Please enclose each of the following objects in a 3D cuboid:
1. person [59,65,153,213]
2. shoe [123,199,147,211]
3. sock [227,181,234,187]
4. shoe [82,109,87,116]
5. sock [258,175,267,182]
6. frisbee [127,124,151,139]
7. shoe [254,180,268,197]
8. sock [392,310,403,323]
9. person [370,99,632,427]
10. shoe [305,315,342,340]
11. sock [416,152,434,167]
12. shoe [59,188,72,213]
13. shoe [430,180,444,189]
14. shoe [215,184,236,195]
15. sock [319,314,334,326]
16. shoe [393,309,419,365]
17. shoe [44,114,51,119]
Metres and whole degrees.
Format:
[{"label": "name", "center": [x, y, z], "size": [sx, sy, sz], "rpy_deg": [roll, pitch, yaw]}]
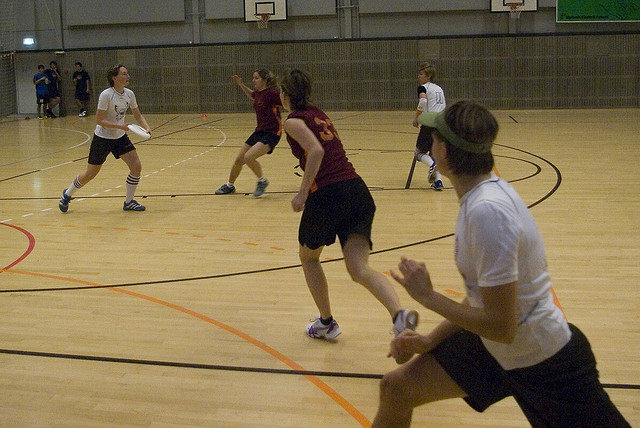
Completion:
[{"label": "person", "center": [-2.959, -1.041, 7.550], "size": [1.057, 2.014, 1.167], "rpy_deg": [7, 16, 36]}, {"label": "shoe", "center": [-2.642, -0.134, 7.734], "size": [0.362, 0.166, 0.127], "rpy_deg": [2, -1, -3]}, {"label": "sock", "center": [-1.423, -0.466, 8.526], "size": [0.091, 0.080, 0.113], "rpy_deg": [0, 5, -4]}, {"label": "shoe", "center": [-9.906, -4.224, 22.659], "size": [0.135, 0.245, 0.465], "rpy_deg": [-6, 13, -15]}, {"label": "sock", "center": [-0.901, -0.555, 8.399], "size": [0.097, 0.088, 0.075], "rpy_deg": [-48, 15, -13]}, {"label": "frisbee", "center": [-2.499, -1.134, 7.413], "size": [0.256, 0.176, 0.391], "rpy_deg": [1, 13, 13]}, {"label": "shoe", "center": [-0.940, -0.395, 8.376], "size": [0.116, 0.146, 0.347], "rpy_deg": [4, 52, 27]}, {"label": "sock", "center": [0.493, 0.654, 3.434], "size": [0.040, 0.054, 0.055], "rpy_deg": [15, 52, 5]}, {"label": "person", "center": [0.776, 0.267, 2.376], "size": [1.032, 1.483, 0.436], "rpy_deg": [4, 14, 26]}, {"label": "shoe", "center": [0.024, 0.864, 4.141], "size": [0.309, 0.157, 0.119], "rpy_deg": [3, 12, 20]}, {"label": "sock", "center": [1.614, -0.844, 8.335], "size": [0.258, 0.234, 0.347], "rpy_deg": [-1, 13, 7]}, {"label": "shoe", "center": [-3.599, -0.178, 7.621], "size": [0.116, 0.347, 0.148], "rpy_deg": [0, 7, -39]}, {"label": "shoe", "center": [1.817, -0.464, 8.433], "size": [0.178, 0.151, 0.219], "rpy_deg": [2, 14, 18]}, {"label": "shoe", "center": [-1.501, -0.377, 8.499], "size": [0.349, 0.162, 0.123], "rpy_deg": [-1, 10, -12]}, {"label": "sock", "center": [0.044, 0.789, 4.042], "size": [0.074, 0.058, 0.132], "rpy_deg": [1, 8, -3]}, {"label": "shoe", "center": [0.498, 0.687, 3.262], "size": [0.174, 0.371, 0.189], "rpy_deg": [-2, -4, -13]}, {"label": "shoe", "center": [-11.087, -3.921, 21.905], "size": [0.229, 0.155, 0.654], "rpy_deg": [-9, 15, -25]}]
